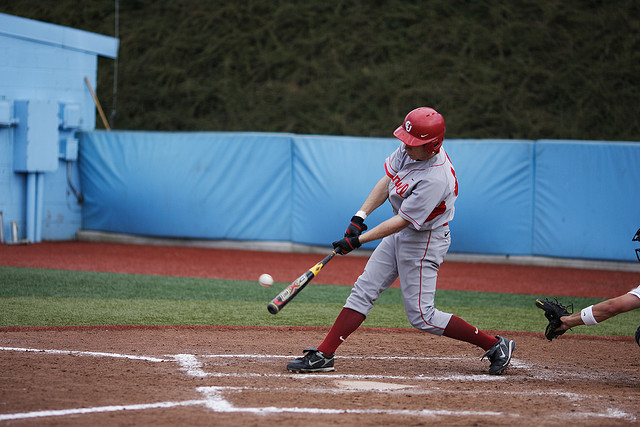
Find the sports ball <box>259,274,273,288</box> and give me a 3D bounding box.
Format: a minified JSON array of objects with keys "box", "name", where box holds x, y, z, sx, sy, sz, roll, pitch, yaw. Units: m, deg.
[{"box":[-0.965,1.221,19.213,0.255,0.225,0.233,20,19,-7],"name":"sports ball"}]
